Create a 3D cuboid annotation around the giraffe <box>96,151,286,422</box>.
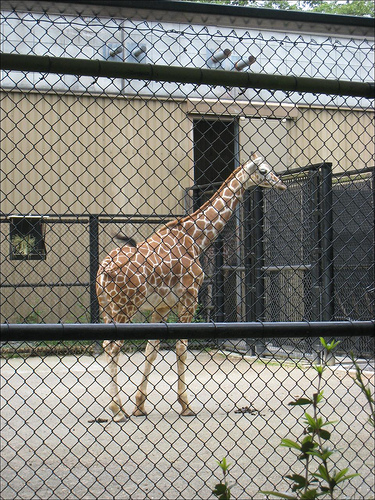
[{"bbox_3d":[-0.096,0.234,6.733,1.122,1.813,1.834,0,2,16],"label":"giraffe"}]
